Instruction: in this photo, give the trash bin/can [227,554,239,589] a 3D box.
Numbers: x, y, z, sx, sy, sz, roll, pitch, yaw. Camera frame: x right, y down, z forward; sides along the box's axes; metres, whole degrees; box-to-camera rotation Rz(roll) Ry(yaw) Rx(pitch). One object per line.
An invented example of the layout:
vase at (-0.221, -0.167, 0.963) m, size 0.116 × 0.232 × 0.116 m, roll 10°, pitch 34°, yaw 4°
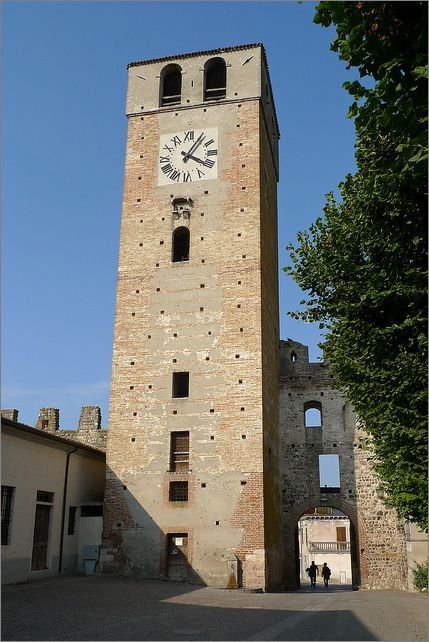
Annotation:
trash bin/can at (0.602, 7.893, 19.623) m, size 0.368 × 0.989 × 0.461 m, roll 1°, pitch -16°, yaw 1°
